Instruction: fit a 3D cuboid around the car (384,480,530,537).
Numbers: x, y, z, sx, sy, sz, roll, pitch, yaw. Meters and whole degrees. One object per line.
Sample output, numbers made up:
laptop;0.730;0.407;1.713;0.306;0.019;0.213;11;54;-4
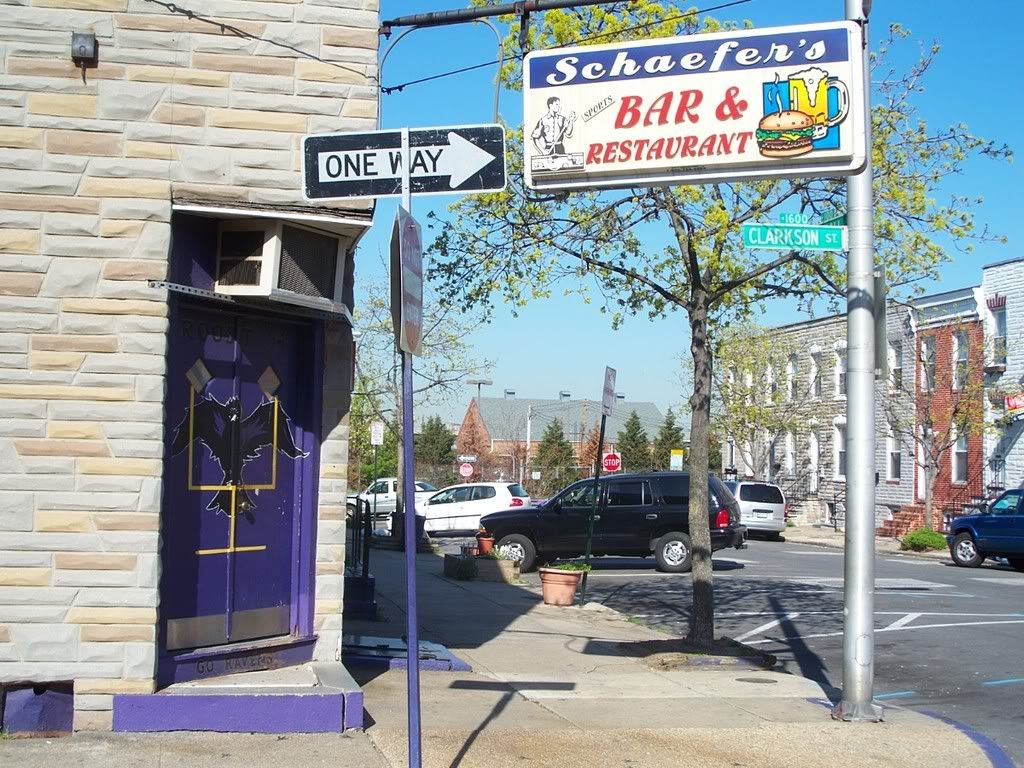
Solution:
car;-1.375;3.386;31.826;3.359;1.278;1.660;0;-1;28

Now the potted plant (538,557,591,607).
potted plant;0.783;2.991;17.908;0.707;0.507;0.714;-1;-4;25

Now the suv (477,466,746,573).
suv;1.903;2.650;23.230;4.959;1.796;2.170;1;-6;2

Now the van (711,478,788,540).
van;7.228;3.720;36.212;1.713;1.530;3.367;0;1;-2
